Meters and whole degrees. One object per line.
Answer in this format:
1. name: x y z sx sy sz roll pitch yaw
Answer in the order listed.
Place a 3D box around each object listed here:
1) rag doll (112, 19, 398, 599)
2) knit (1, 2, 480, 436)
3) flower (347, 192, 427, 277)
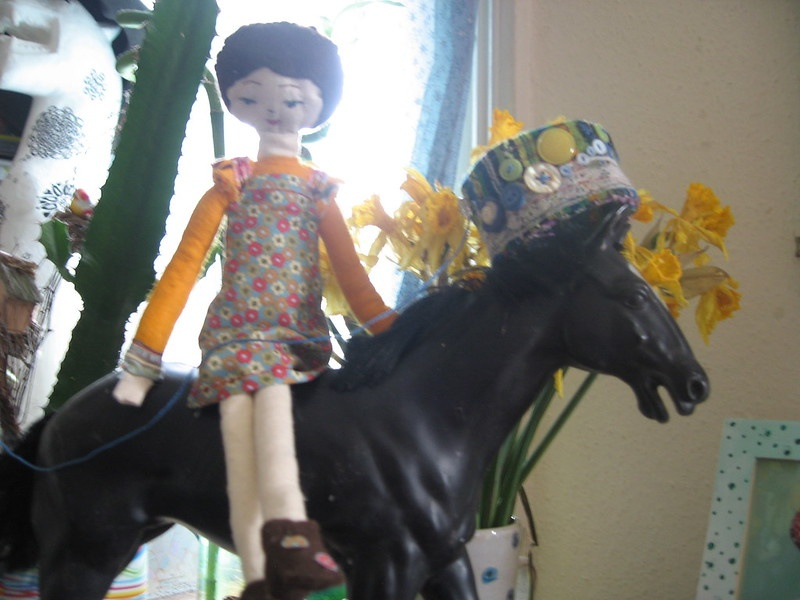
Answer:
1. rag doll: -0.132 0.044 0.888 0.278 0.654 0.252 -10 18 -44
2. knit: -0.138 -0.243 1.144 0.510 0.745 0.326 -10 24 -38
3. flower: -0.018 -0.089 0.954 0.096 0.104 0.065 -4 12 -14
